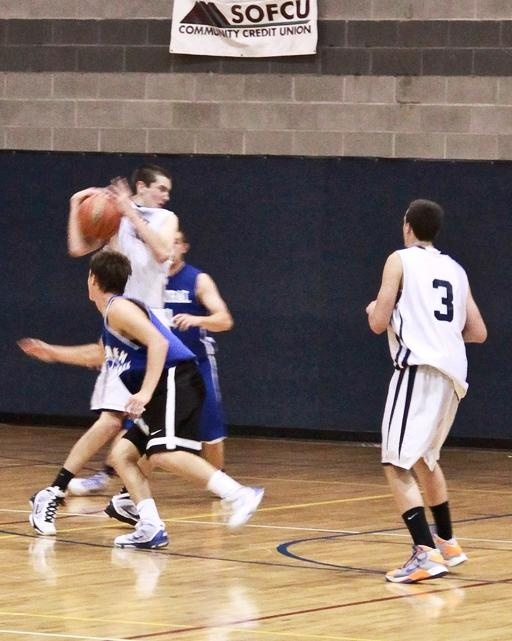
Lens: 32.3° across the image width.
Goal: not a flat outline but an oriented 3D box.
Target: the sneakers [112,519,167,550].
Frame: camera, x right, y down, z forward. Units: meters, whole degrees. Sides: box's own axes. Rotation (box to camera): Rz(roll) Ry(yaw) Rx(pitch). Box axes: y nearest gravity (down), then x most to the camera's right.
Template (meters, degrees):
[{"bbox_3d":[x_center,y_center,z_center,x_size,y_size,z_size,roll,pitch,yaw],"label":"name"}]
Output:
[{"bbox_3d":[-0.462,0.795,3.282,0.267,0.102,0.086,0,-5,25],"label":"sneakers"}]

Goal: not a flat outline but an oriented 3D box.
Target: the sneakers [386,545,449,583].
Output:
[{"bbox_3d":[0.480,0.744,2.675,0.187,0.133,0.096,1,8,13],"label":"sneakers"}]

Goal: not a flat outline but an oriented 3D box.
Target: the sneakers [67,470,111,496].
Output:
[{"bbox_3d":[-0.908,0.886,4.820,0.256,0.097,0.093,-14,27,-28],"label":"sneakers"}]

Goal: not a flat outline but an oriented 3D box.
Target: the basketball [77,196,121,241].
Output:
[{"bbox_3d":[-0.717,-0.475,4.081,0.215,0.237,0.240,-3,29,-1],"label":"basketball"}]

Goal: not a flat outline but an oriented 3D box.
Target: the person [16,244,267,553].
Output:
[{"bbox_3d":[-0.497,0.283,3.406,0.455,1.108,1.124,-6,10,-36],"label":"person"}]

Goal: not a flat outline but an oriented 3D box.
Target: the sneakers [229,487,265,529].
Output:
[{"bbox_3d":[-0.058,0.697,3.178,0.084,0.184,0.098,13,49,-16],"label":"sneakers"}]

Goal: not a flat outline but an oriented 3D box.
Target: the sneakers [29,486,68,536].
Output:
[{"bbox_3d":[-0.851,0.765,3.579,0.131,0.079,0.242,-25,33,-4],"label":"sneakers"}]

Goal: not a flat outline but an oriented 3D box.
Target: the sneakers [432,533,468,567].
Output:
[{"bbox_3d":[0.624,0.751,2.926,0.068,0.067,0.158,-12,22,-12],"label":"sneakers"}]

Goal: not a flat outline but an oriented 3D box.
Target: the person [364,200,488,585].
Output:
[{"bbox_3d":[0.529,0.235,2.815,0.366,1.233,0.534,2,8,15],"label":"person"}]
